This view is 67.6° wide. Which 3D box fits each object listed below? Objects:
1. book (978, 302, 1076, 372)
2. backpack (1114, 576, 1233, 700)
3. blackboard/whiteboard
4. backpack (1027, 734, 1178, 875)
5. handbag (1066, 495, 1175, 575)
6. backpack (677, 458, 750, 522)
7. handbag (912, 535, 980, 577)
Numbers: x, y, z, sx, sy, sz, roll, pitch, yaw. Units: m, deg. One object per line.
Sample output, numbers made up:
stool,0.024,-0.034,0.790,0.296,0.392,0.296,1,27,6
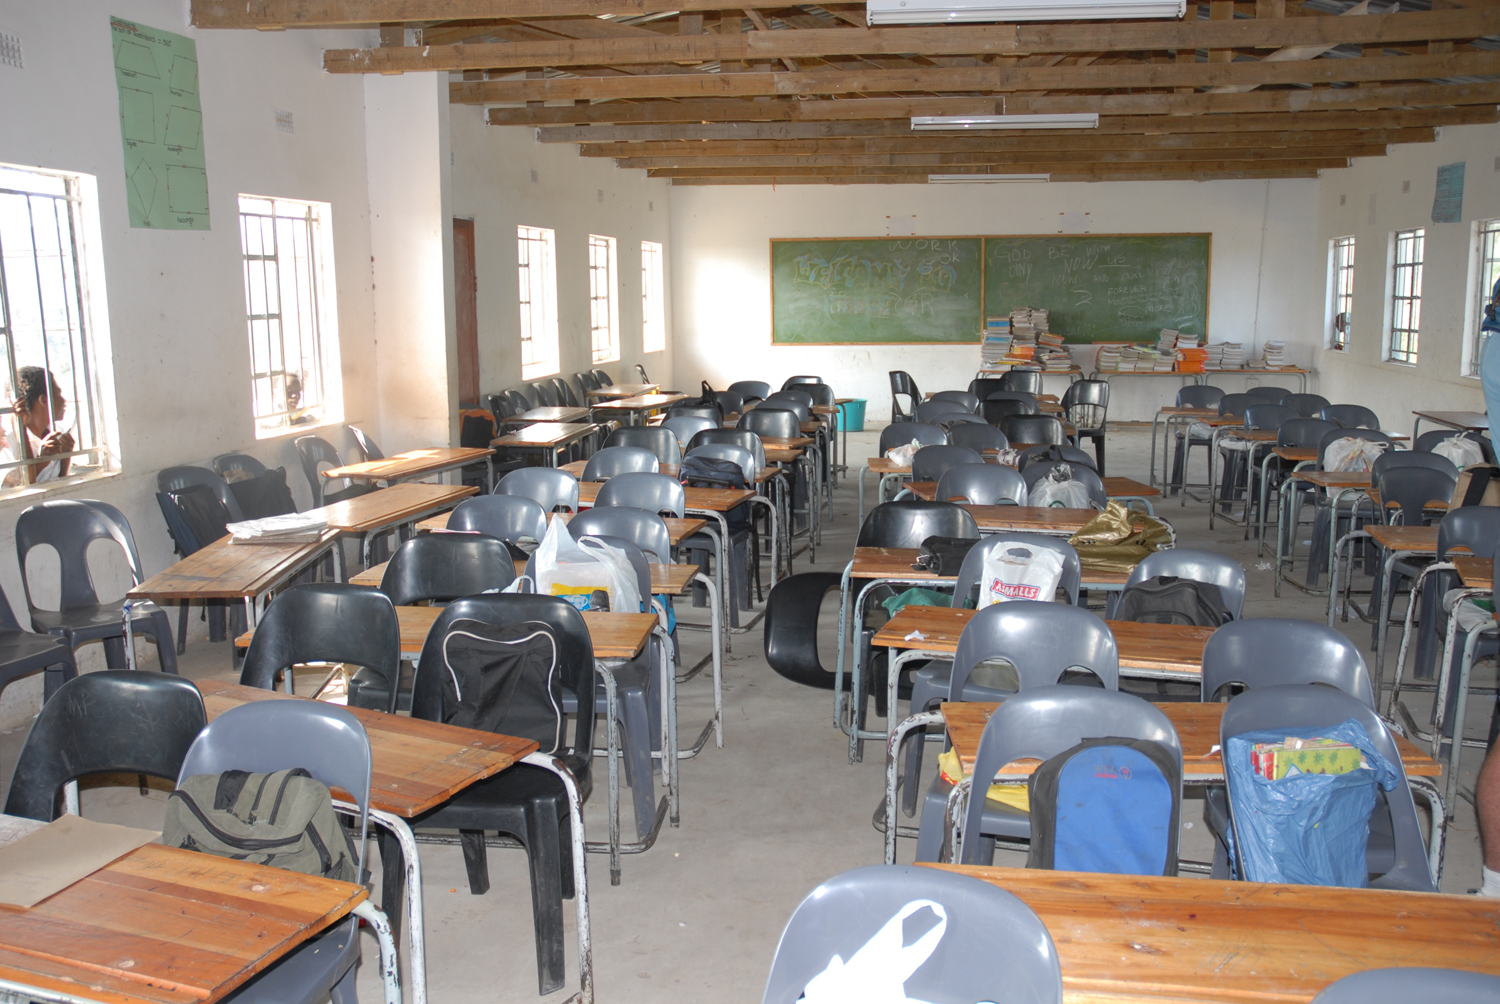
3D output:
book,3.720,-2.191,15.107,1.228,0.881,0.733,2,12,9
backpack,1.700,0.526,4.504,0.381,0.495,0.141,4,-3,18
blackboard/whiteboard,3.241,-2.926,15.460,5.847,1.526,0.323,2,13,6
backpack,0.968,0.827,3.045,0.339,0.409,0.103,4,3,6
handbag,1.796,0.164,5.407,0.461,0.152,0.352,-3,34,16
backpack,-0.228,-0.093,7.077,0.374,0.450,0.438,-4,-3,17
handbag,0.898,0.240,5.245,0.225,0.145,0.200,5,16,19
